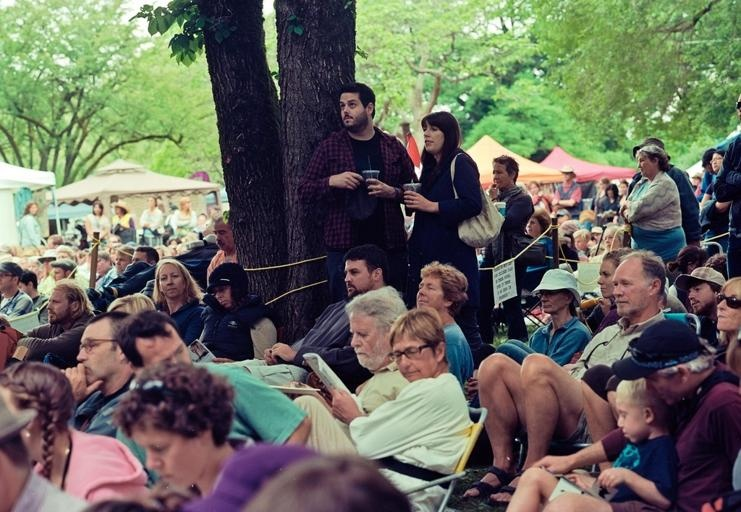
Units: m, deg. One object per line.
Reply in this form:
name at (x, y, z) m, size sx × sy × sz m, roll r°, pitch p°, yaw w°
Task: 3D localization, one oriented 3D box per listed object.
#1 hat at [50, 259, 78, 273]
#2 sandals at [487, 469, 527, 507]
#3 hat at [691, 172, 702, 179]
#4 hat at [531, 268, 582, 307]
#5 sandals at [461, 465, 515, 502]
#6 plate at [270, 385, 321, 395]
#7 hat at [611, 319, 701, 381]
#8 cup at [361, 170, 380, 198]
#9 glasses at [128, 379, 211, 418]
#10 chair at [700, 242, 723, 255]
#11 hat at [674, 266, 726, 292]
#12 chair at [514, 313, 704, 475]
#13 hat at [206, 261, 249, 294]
hat at (-5.110, 0.142, 13.837) m, size 0.251 × 0.121 × 0.346 m, roll 2°, pitch 6°, yaw 38°
sandals at (1.135, 1.862, 6.653) m, size 0.159 × 0.217 × 0.532 m, roll 7°, pitch 4°, yaw 33°
hat at (6.736, -1.677, 17.162) m, size 0.177 × 0.133 × 0.239 m, roll -4°, pitch -4°, yaw 39°
hat at (1.737, 0.278, 7.739) m, size 0.397 × 0.207 × 0.311 m, roll 11°, pitch -13°, yaw -20°
sandals at (0.978, 1.828, 6.657) m, size 0.545 × 0.208 × 0.177 m, roll 1°, pitch -2°, yaw -35°
plate at (-0.586, 1.055, 6.497) m, size 0.314 × 0.040 × 0.220 m, roll -1°, pitch -3°, yaw 9°
hat at (1.996, 0.632, 5.866) m, size 0.602 × 0.285 × 0.409 m, roll -8°, pitch 15°, yaw 0°
cup at (-0.028, -0.695, 8.016) m, size 0.208 × 0.272 × 0.230 m, roll -5°, pitch -4°, yaw 26°
glasses at (-1.167, 0.800, 4.629) m, size 0.257 × 0.083 × 0.189 m, roll 29°, pitch -19°, yaw -38°
chair at (4.075, -0.095, 9.936) m, size 0.113 × 0.133 × 0.145 m, roll -8°, pitch 10°, yaw -1°
hat at (3.066, 0.209, 7.724) m, size 0.349 × 0.148 × 0.237 m, roll 2°, pitch -7°, yaw 1°
chair at (1.855, 1.050, 7.006) m, size 1.494 × 1.622 × 1.379 m, roll 6°, pitch 9°, yaw 24°
hat at (-1.502, 0.216, 8.695) m, size 0.395 × 0.235 × 0.264 m, roll 1°, pitch -5°, yaw 1°
